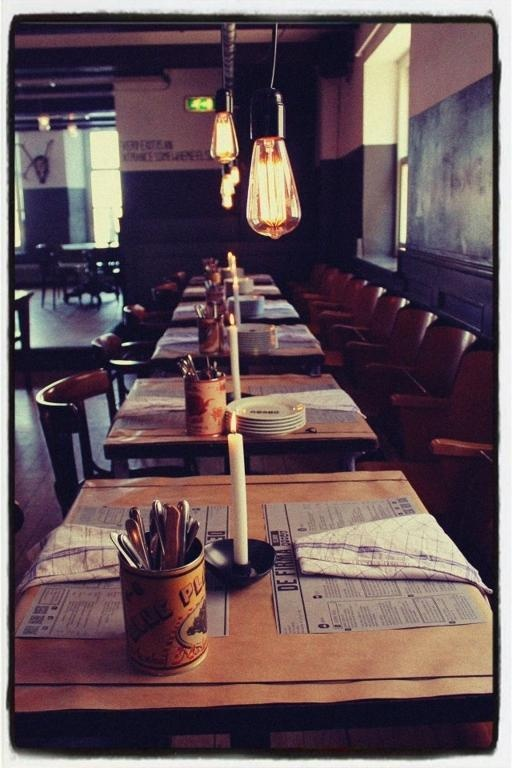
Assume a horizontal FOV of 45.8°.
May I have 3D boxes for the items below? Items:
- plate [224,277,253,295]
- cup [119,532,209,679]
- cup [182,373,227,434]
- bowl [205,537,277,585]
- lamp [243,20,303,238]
[{"bbox_3d":[-0.106,-0.689,4.243,0.173,0.095,0.200,0,9,0],"label":"plate"},{"bbox_3d":[-0.108,0.268,0.738,0.105,0.127,0.102,2,5,0],"label":"cup"},{"bbox_3d":[-0.130,0.052,1.587,0.113,0.145,0.122,-2,8,0],"label":"cup"},{"bbox_3d":[-0.025,0.263,0.918,0.104,0.057,0.103,-1,14,0],"label":"bowl"},{"bbox_3d":[0.042,-0.554,1.504,0.124,0.369,0.223,-1,14,3],"label":"lamp"}]
